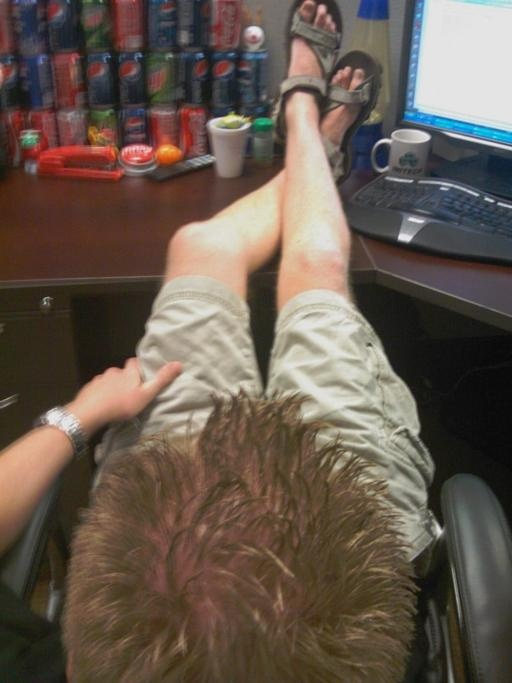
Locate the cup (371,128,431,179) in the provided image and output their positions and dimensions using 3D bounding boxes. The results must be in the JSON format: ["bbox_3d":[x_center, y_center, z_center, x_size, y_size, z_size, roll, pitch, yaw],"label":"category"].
[{"bbox_3d":[0.296,-0.372,1.114,0.113,0.118,0.115,1,30,-1],"label":"cup"}]

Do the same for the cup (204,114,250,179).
[{"bbox_3d":[-0.053,-0.396,1.113,0.083,0.129,0.100,-13,36,-20],"label":"cup"}]

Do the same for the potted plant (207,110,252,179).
[{"bbox_3d":[-0.059,-0.398,1.108,0.083,0.132,0.097,-12,36,-19],"label":"potted plant"}]
